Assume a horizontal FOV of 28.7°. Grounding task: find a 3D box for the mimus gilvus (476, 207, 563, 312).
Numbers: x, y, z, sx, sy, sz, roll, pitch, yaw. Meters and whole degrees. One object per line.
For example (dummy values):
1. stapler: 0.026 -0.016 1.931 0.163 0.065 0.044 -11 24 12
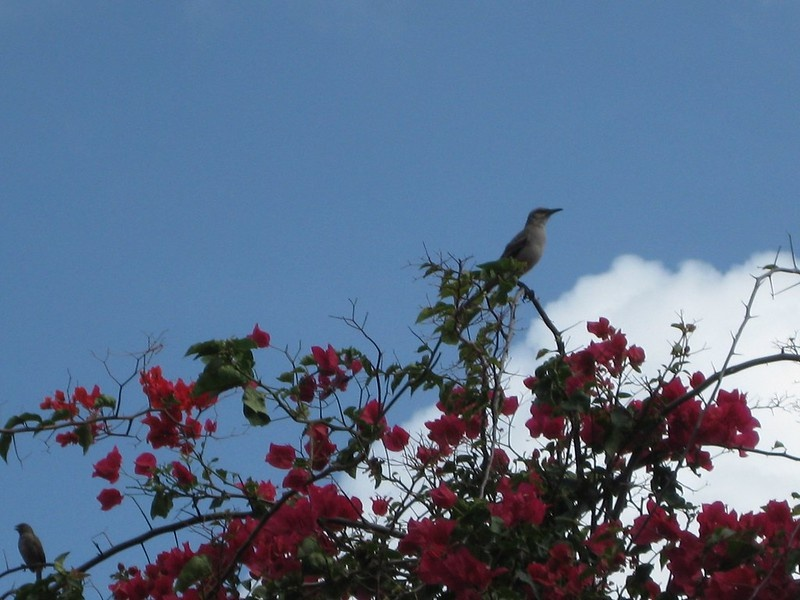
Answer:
1. mimus gilvus: 0.664 -0.271 9.234 0.602 0.455 0.229 -12 -19 30
